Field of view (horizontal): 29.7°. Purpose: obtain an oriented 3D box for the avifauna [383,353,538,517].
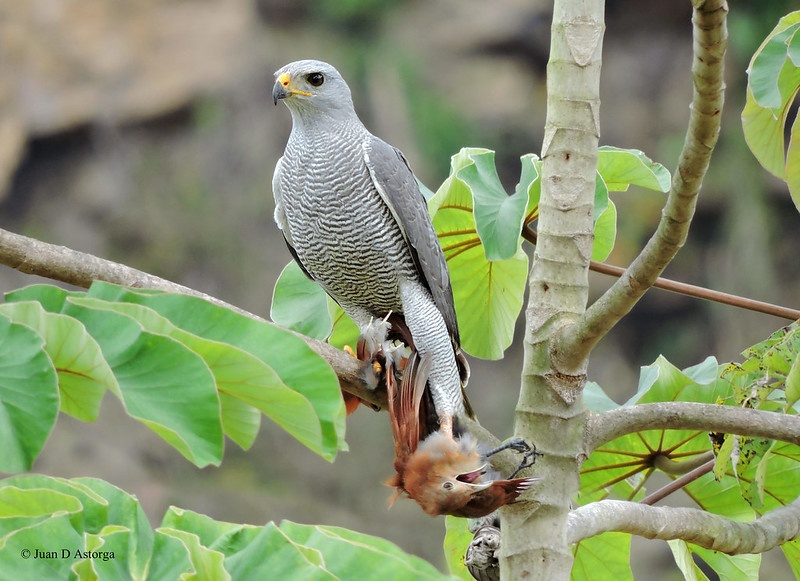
[{"bbox_3d":[0.219,0.918,8.363,0.611,0.931,0.682,-39,28,-21],"label":"avifauna"}]
